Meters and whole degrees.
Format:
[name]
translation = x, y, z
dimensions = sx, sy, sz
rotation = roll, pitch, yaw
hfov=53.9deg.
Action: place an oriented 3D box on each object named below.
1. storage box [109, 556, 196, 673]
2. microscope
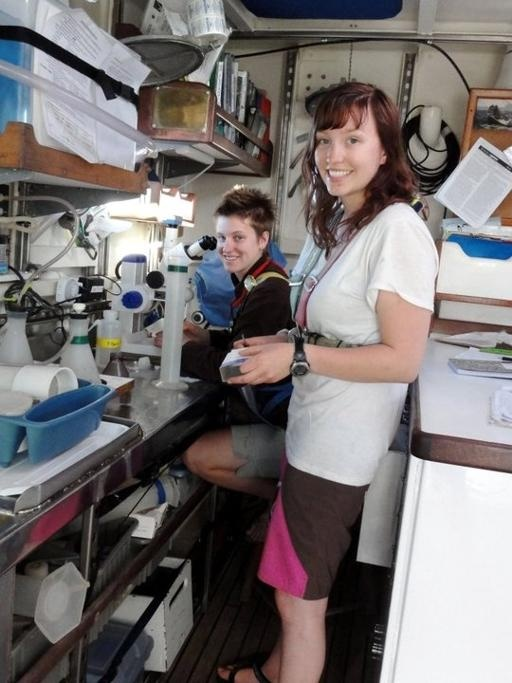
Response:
[storage box]
translation = -0.271, 0.834, 1.513
dimensions = 0.286, 0.315, 0.287
rotation = 3, 11, 4
[microscope]
translation = -0.375, -0.133, 1.750
dimensions = 0.429, 0.515, 0.461
rotation = 3, 13, 3
